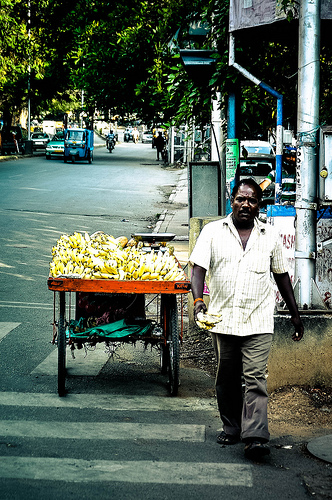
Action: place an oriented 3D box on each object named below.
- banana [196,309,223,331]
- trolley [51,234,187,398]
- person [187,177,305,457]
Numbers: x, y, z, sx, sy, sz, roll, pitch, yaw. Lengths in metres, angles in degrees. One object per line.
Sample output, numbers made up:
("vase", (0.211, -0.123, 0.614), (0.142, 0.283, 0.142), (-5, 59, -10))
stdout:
("banana", (0.243, 0.387, 3.203), (0.116, 0.060, 0.148), (5, 12, 2))
("trolley", (-0.451, 0.545, 4.999), (1.096, 1.323, 1.621), (1, 11, -9))
("person", (0.472, 0.382, 3.421), (0.630, 1.526, 0.772), (0, 1, 15))
